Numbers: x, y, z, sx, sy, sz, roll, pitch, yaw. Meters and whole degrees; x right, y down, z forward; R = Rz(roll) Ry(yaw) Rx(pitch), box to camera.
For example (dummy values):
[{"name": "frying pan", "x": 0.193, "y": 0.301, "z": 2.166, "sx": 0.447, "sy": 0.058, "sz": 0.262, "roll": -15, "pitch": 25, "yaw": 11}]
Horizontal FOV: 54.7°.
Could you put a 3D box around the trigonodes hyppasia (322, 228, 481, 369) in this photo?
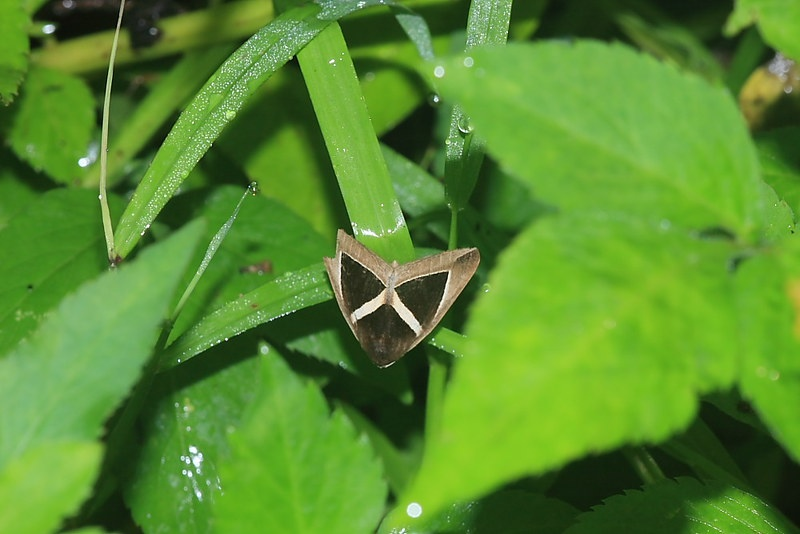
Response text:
[{"name": "trigonodes hyppasia", "x": -0.002, "y": 0.011, "z": 0.708, "sx": 0.120, "sy": 0.054, "sz": 0.103, "roll": -34, "pitch": 58, "yaw": -22}]
